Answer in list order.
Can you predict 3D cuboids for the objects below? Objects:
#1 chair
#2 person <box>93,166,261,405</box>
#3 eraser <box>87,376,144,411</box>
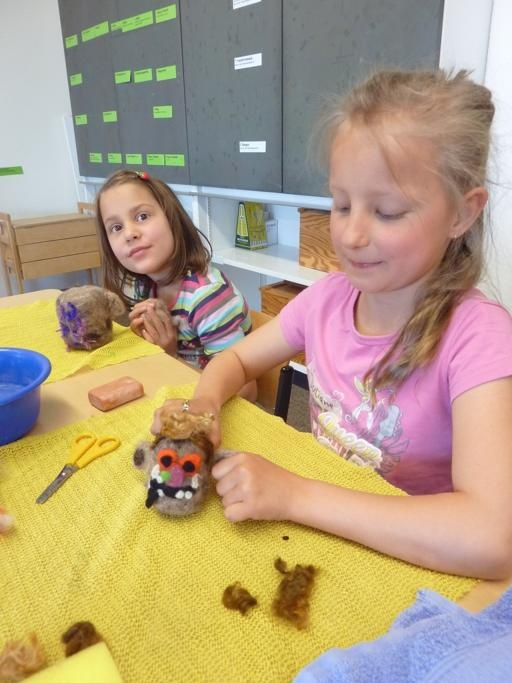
[{"bbox_3d":[0.018,0.055,1.196,0.153,0.196,0.107,-14,24,-40],"label":"chair"},{"bbox_3d":[-0.189,-0.042,1.362,0.353,0.737,0.289,-10,7,8],"label":"person"},{"bbox_3d":[-0.218,0.074,0.808,0.045,0.021,0.061,21,29,39],"label":"eraser"}]
